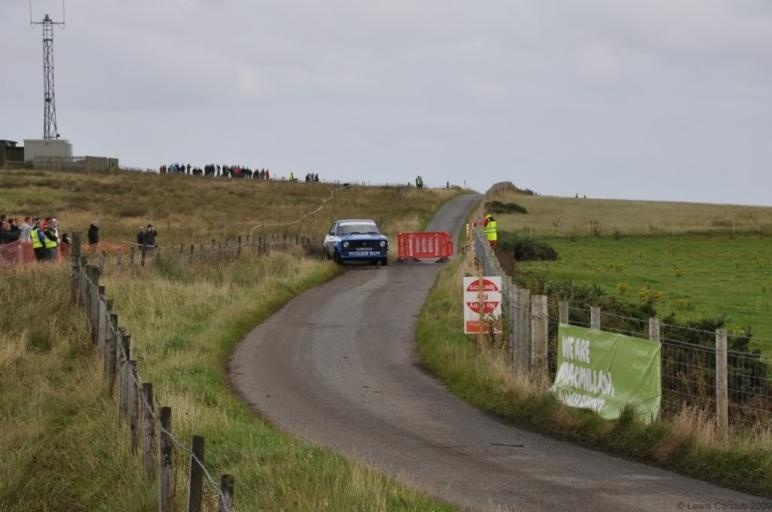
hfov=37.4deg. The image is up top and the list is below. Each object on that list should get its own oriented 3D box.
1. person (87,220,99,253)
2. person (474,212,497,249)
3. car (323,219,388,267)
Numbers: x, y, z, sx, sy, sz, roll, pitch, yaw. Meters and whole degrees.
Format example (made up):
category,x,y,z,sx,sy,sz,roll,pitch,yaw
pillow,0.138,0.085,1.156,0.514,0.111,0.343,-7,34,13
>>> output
category,x,y,z,sx,sy,sz,roll,pitch,yaw
person,-12.478,-0.845,48.802,0.444,1.506,1.837,-1,13,-15
person,4.189,-1.001,47.705,0.522,0.658,1.620,-18,17,3
car,-1.361,-0.370,53.350,2.323,2.225,3.322,-2,14,-22
